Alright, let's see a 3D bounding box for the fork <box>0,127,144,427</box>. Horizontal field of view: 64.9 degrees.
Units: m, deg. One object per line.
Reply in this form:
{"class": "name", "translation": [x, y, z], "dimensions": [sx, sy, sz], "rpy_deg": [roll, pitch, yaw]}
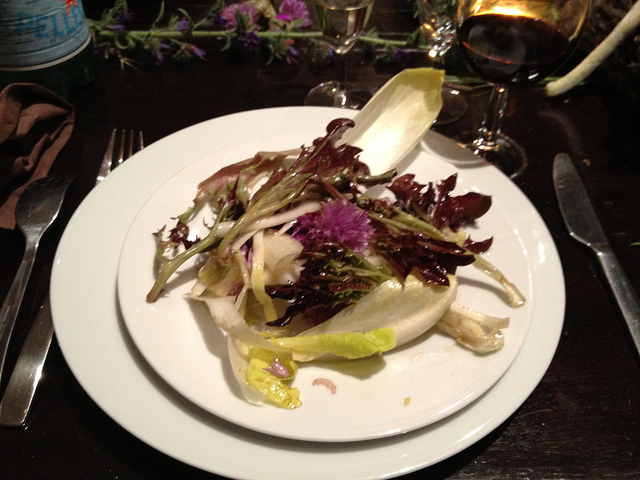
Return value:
{"class": "fork", "translation": [-0.446, -0.006, 0.990], "dimensions": [0.083, 0.037, 0.694], "rpy_deg": [8, 59, -2]}
